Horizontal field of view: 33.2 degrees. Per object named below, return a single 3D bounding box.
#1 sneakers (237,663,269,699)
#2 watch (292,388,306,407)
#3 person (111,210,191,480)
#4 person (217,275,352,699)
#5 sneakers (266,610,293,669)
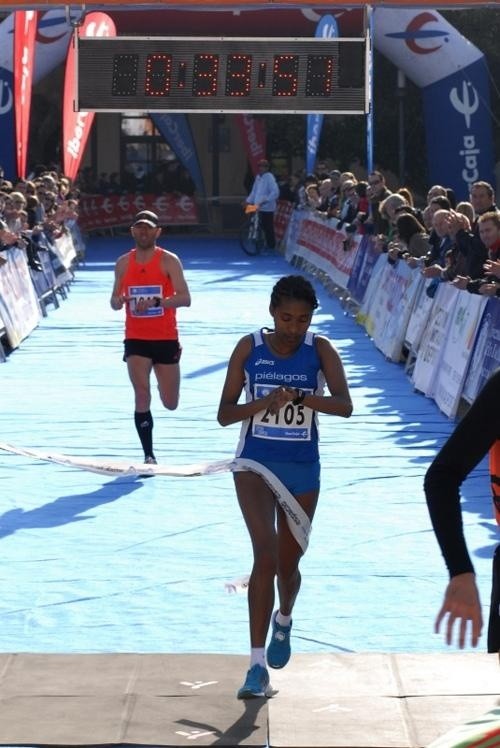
[{"bbox_3d":[0.020,1.056,2.864,0.079,0.082,0.187,-2,-19,10],"label":"sneakers"},{"bbox_3d":[0.184,0.086,3.110,0.047,0.054,0.055,-1,14,0],"label":"watch"},{"bbox_3d":[-0.770,-0.132,6.520,0.590,1.834,0.748,-1,21,-9],"label":"person"},{"bbox_3d":[0.066,0.469,3.184,0.521,1.619,0.980,6,21,10],"label":"person"},{"bbox_3d":[0.107,0.985,3.119,0.087,0.205,0.095,1,-7,-5],"label":"sneakers"}]
